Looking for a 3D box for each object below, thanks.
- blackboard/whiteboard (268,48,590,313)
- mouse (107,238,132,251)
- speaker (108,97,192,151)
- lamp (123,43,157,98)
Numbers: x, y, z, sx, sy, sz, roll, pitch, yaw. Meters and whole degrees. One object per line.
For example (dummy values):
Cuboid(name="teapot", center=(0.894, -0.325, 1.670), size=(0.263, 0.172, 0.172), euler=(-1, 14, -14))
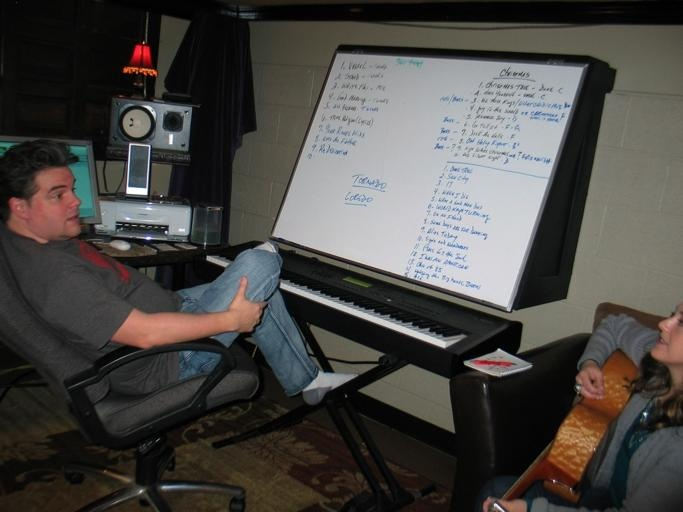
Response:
Cuboid(name="blackboard/whiteboard", center=(0.463, -0.344, 2.396), size=(1.269, 0.990, 0.473), euler=(19, -18, 38))
Cuboid(name="mouse", center=(-1.141, -0.059, 2.601), size=(0.085, 0.023, 0.060), euler=(11, 23, 28))
Cuboid(name="speaker", center=(-1.096, -0.770, 2.917), size=(0.530, 0.306, 0.273), euler=(4, 9, -23))
Cuboid(name="lamp", center=(-1.225, -1.125, 3.025), size=(0.196, 0.295, 0.216), euler=(23, 21, 36))
